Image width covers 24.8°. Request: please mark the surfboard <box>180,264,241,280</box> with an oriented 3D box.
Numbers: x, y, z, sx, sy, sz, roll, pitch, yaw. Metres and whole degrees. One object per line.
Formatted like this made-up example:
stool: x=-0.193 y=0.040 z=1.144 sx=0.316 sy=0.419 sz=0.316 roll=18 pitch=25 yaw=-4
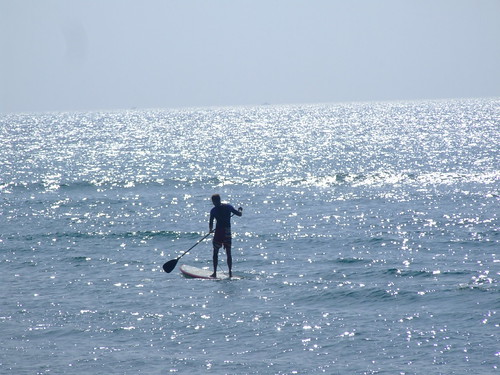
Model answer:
surfboard: x=-2.009 y=3.809 z=49.789 sx=2.199 sy=0.483 sz=2.106 roll=-3 pitch=4 yaw=-40
